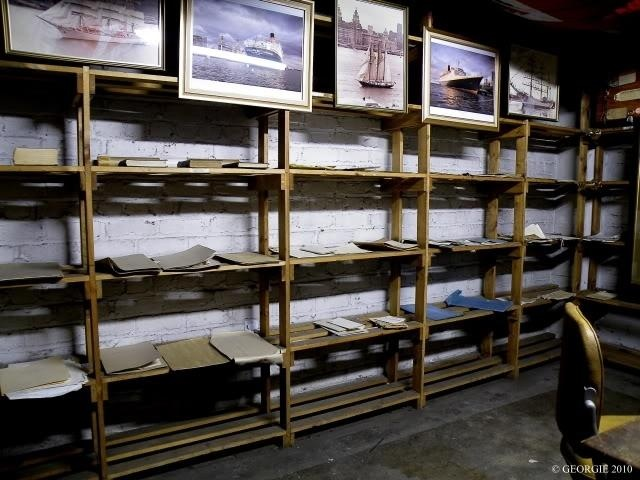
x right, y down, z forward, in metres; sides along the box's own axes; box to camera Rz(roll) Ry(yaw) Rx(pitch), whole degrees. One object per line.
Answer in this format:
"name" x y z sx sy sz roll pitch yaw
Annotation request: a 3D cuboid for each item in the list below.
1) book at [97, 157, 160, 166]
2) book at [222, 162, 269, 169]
"book" -1.159 -0.473 3.097 0.188 0.027 0.148 -1 3 -28
"book" -0.465 -0.481 3.353 0.322 0.051 0.139 -4 5 -26
